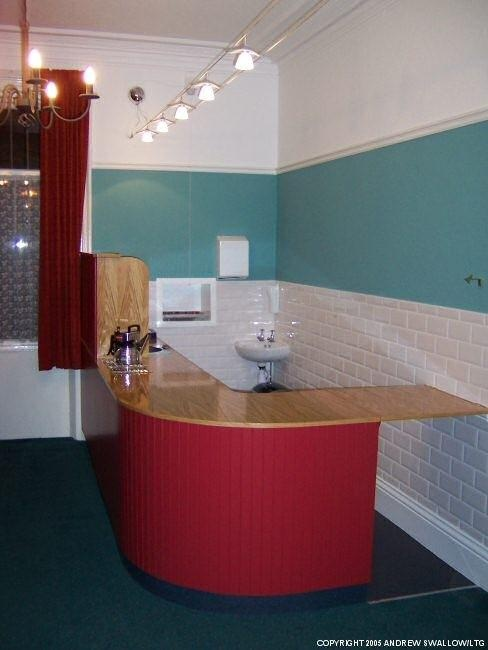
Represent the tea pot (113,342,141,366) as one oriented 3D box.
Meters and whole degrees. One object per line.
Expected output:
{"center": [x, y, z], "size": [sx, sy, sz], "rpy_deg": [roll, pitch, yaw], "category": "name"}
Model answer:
{"center": [-0.821, 0.192, 3.425], "size": [0.169, 0.157, 0.136], "rpy_deg": [-3, 9, -27], "category": "tea pot"}
